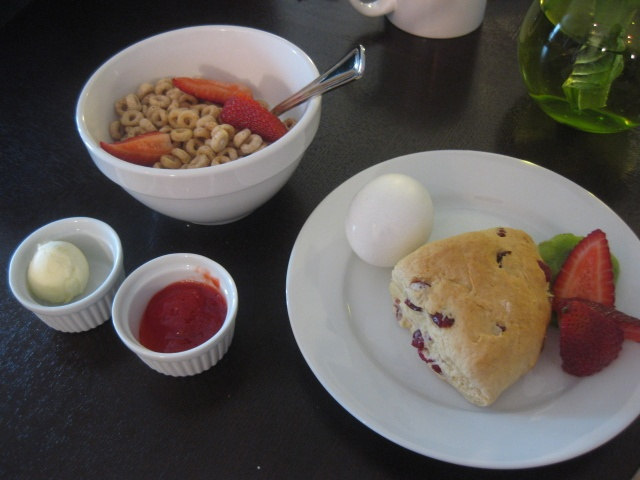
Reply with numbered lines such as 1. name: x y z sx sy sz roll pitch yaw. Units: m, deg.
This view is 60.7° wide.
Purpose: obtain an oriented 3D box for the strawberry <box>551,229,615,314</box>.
1. strawberry: 0.484 0.058 0.992 0.031 0.151 0.105 15 7 -16

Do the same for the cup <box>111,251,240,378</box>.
1. cup: -0.254 0.102 0.939 0.190 0.099 0.222 -1 50 -4

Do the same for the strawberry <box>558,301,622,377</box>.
1. strawberry: 0.443 0.160 0.957 0.080 0.102 0.143 8 30 23

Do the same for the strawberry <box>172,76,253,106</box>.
1. strawberry: -0.226 -0.316 1.166 0.166 0.050 0.078 8 23 -11

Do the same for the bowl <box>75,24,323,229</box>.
1. bowl: -0.240 -0.257 1.144 0.409 0.258 0.480 6 51 6

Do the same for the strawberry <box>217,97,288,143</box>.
1. strawberry: -0.133 -0.237 1.124 0.129 0.056 0.081 24 59 9

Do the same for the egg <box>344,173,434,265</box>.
1. egg: 0.107 -0.047 1.083 0.145 0.198 0.154 11 19 -8
